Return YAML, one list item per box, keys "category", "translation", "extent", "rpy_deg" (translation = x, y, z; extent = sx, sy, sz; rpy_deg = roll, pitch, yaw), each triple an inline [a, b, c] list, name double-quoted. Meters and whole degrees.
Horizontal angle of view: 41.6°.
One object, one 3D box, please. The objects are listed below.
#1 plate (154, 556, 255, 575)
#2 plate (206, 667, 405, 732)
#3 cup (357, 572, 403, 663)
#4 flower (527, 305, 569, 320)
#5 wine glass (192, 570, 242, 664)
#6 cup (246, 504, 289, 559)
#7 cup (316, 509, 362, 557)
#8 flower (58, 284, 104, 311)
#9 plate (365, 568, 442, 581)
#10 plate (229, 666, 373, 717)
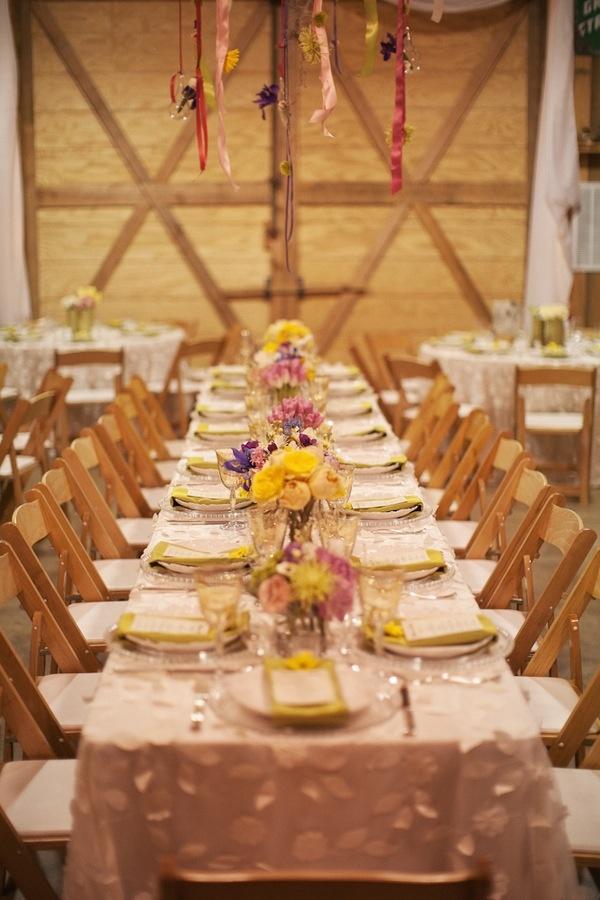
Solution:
- category: "plate"
  translation: [-0.204, 0.255, 1.724]
  extent: [0.128, 0.023, 0.086]
  rpy_deg: [1, 1, -2]
- category: "plate"
  translation: [0.010, 0.397, 1.289]
  extent: [0.183, 0.046, 0.189]
  rpy_deg: [4, 9, 11]
- category: "cup"
  translation: [0.129, 0.275, 1.321]
  extent: [0.089, 0.143, 0.088]
  rpy_deg: [7, -5, 1]
- category: "flower"
  translation: [1.880, -1.046, 5.990]
  extent: [0.269, 0.129, 0.250]
  rpy_deg: [-2, 1, 7]
- category: "wine glass"
  translation: [-0.136, 0.285, 1.325]
  extent: [0.082, 0.226, 0.084]
  rpy_deg: [-3, 27, -2]
- category: "cup"
  translation: [-0.060, 0.163, 1.630]
  extent: [0.092, 0.140, 0.088]
  rpy_deg: [-1, 8, 0]
- category: "cup"
  translation: [0.080, 0.168, 1.659]
  extent: [0.090, 0.099, 0.089]
  rpy_deg: [-1, 12, 0]
- category: "flower"
  translation: [-1.722, -1.207, 6.275]
  extent: [0.240, 0.225, 0.484]
  rpy_deg: [-3, 1, -8]
- category: "plate"
  translation: [0.204, 0.250, 1.584]
  extent: [0.086, 0.015, 0.086]
  rpy_deg: [-2, 5, -6]
- category: "plate"
  translation: [0.004, 0.400, 1.281]
  extent: [0.169, 0.041, 0.179]
  rpy_deg: [-4, 11, -26]
